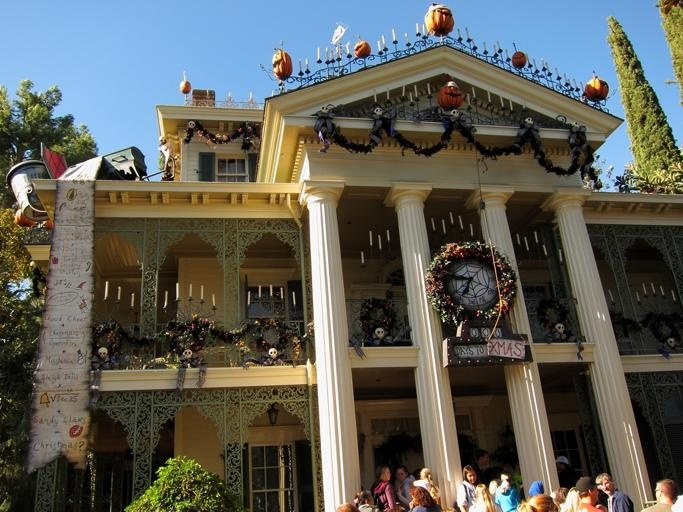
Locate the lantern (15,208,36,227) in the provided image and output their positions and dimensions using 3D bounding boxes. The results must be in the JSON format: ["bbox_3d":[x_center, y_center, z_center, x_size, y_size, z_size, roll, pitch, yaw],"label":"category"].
[{"bbox_3d":[-8.755,-1.102,15.952,0.388,0.453,0.486,10,-35,-20],"label":"lantern"}]

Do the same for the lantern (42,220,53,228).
[{"bbox_3d":[-8.119,-0.923,15.890,0.273,0.194,0.269,10,-14,-36],"label":"lantern"}]

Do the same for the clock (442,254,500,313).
[{"bbox_3d":[3.091,0.643,13.712,1.033,1.404,0.639,4,-11,-17],"label":"clock"}]

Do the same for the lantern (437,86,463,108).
[{"bbox_3d":[2.663,-3.987,14.271,0.587,0.752,0.578,-3,-12,18],"label":"lantern"}]
